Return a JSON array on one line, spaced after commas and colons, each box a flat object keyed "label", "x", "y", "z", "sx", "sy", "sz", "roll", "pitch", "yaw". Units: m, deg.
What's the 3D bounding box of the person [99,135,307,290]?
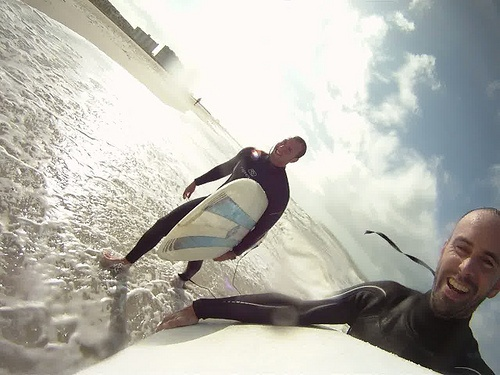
[{"label": "person", "x": -0.531, "y": 0.463, "z": 5.204, "sx": 1.509, "sy": 3.412, "sz": 1.062, "roll": 50, "pitch": 12, "yaw": 18}]
